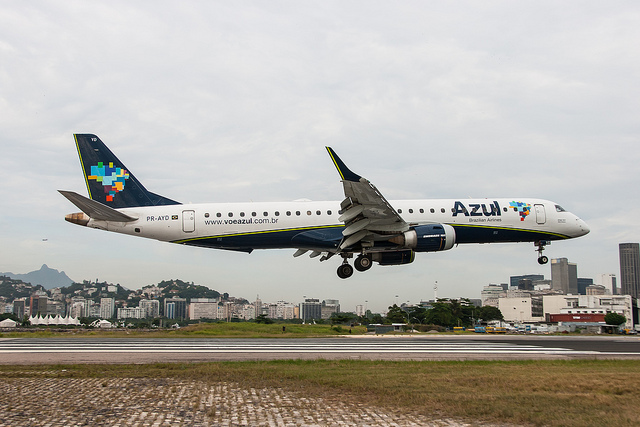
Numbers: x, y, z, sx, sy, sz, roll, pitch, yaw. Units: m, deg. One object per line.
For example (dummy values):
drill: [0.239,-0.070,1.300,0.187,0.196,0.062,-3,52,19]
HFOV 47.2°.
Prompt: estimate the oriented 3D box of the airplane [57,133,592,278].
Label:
airplane: [-0.186,-0.667,46.335,30.405,9.480,7.038,0,-7,-10]
